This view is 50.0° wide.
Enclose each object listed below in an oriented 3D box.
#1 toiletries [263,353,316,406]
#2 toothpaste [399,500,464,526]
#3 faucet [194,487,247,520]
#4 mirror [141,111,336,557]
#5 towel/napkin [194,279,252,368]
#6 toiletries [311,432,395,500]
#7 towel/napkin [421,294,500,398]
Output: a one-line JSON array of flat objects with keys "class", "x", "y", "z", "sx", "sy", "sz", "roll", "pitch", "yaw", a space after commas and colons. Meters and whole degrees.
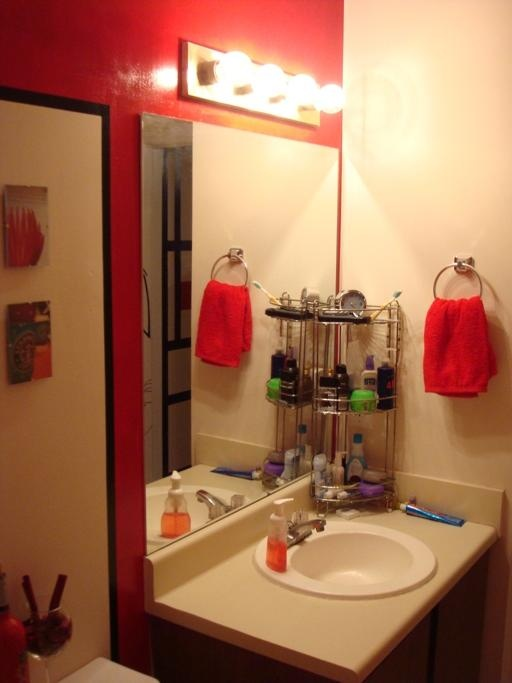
[{"class": "toiletries", "x": 0.102, "y": 0.104, "z": 1.707, "sx": 0.146, "sy": 0.181, "sz": 0.120, "roll": 8, "pitch": 9, "yaw": 34}, {"class": "toothpaste", "x": 0.557, "y": 0.514, "z": 1.736, "sx": 0.160, "sy": 0.040, "sz": 0.062, "roll": 11, "pitch": 15, "yaw": 29}, {"class": "faucet", "x": -0.092, "y": 0.408, "z": 1.416, "sx": 0.140, "sy": 0.066, "sz": 0.049, "roll": 14, "pitch": -1, "yaw": -5}, {"class": "mirror", "x": -0.020, "y": -0.089, "z": 1.501, "sx": 0.044, "sy": 1.092, "sz": 0.875, "roll": 4, "pitch": 4, "yaw": 30}, {"class": "towel/napkin", "x": -0.076, "y": -0.049, "z": 1.435, "sx": 0.157, "sy": 0.202, "sz": 0.066, "roll": 8, "pitch": 6, "yaw": 12}, {"class": "toiletries", "x": 0.304, "y": 0.379, "z": 1.816, "sx": 0.219, "sy": 0.169, "sz": 0.213, "roll": 6, "pitch": -10, "yaw": -36}, {"class": "towel/napkin", "x": 0.604, "y": 0.006, "z": 1.647, "sx": 0.207, "sy": 0.312, "sz": 0.089, "roll": -1, "pitch": -26, "yaw": 23}]
